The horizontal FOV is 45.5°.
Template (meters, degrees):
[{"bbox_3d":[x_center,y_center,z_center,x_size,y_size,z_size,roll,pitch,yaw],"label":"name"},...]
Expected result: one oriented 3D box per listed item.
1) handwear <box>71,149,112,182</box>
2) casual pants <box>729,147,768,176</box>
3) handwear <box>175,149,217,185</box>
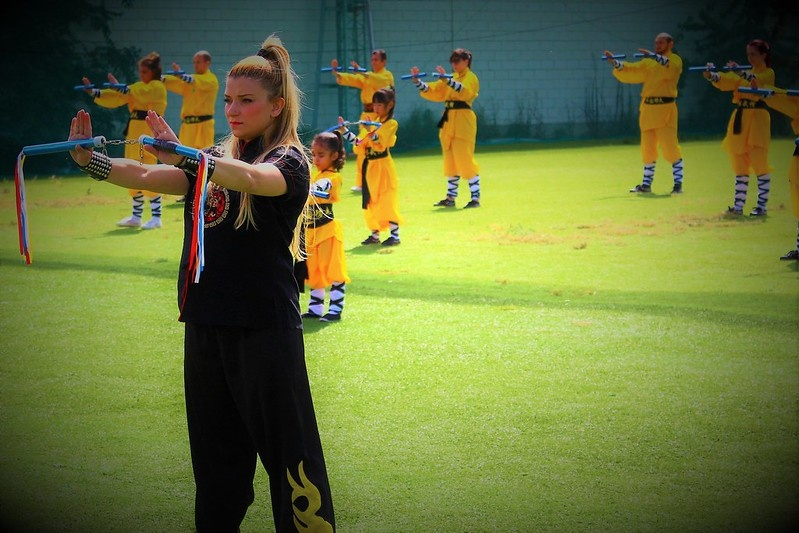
[{"bbox_3d":[-1.627,-0.542,5.105,0.179,0.151,0.117,-3,10,-15],"label":"handwear"},{"bbox_3d":[3.705,-1.124,10.099,0.436,0.406,0.273,-1,-1,36],"label":"casual pants"},{"bbox_3d":[-1.040,-0.551,5.059,0.223,0.170,0.162,4,11,23],"label":"handwear"}]
